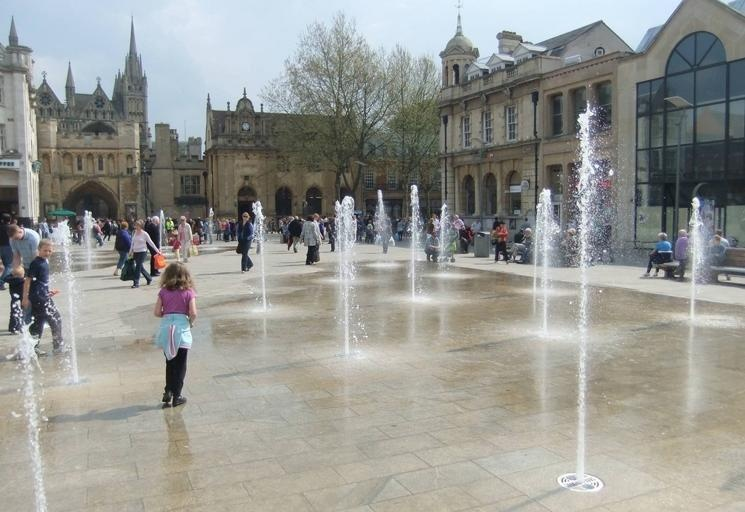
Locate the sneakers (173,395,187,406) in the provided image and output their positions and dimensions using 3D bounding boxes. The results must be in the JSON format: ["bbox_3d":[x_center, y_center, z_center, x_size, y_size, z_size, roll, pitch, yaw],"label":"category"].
[{"bbox_3d":[-2.668,2.015,9.486,0.122,0.097,0.244,1,6,30],"label":"sneakers"}]

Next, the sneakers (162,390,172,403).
[{"bbox_3d":[-2.848,1.967,9.502,0.129,0.147,0.134,-2,1,18],"label":"sneakers"}]

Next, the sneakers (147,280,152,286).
[{"bbox_3d":[-6.377,0.744,19.420,0.086,0.164,0.435,-4,6,-19],"label":"sneakers"}]

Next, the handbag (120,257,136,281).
[{"bbox_3d":[-6.709,0.361,18.678,0.368,0.601,0.330,-5,6,-20],"label":"handbag"}]

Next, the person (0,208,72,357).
[{"bbox_3d":[-5.977,0.544,12.116,0.700,2.226,1.343,-5,6,-27],"label":"person"}]

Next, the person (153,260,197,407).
[{"bbox_3d":[-2.774,1.073,9.629,0.531,1.949,0.669,-4,6,-11],"label":"person"}]

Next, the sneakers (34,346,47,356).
[{"bbox_3d":[-5.749,1.644,11.781,0.187,0.120,0.427,-5,6,-28],"label":"sneakers"}]

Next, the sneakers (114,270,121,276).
[{"bbox_3d":[-8.332,0.554,22.209,0.098,0.212,0.287,15,10,2],"label":"sneakers"}]

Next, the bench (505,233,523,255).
[{"bbox_3d":[6.272,-0.547,30.255,0.407,1.172,0.830,18,-8,-25],"label":"bench"}]
